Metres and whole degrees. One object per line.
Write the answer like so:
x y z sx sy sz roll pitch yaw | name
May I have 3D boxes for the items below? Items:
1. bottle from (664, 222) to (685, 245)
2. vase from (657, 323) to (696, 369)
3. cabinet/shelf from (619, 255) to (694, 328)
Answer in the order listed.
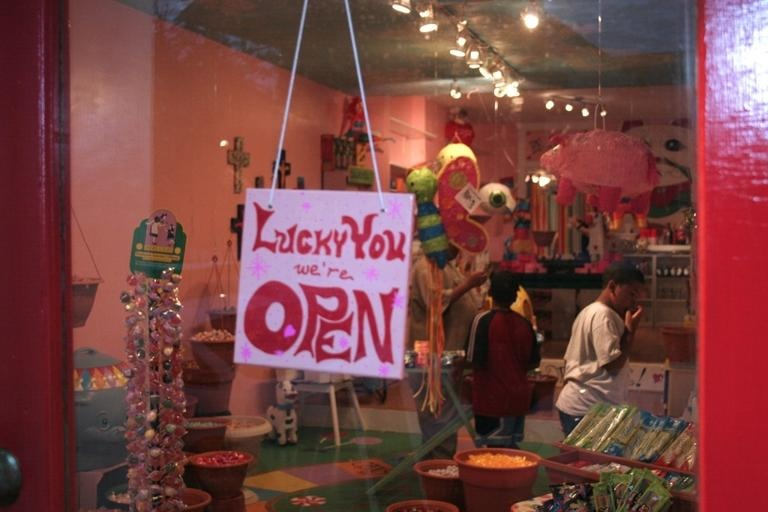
0.769 -0.057 1.914 0.010 0.054 0.074 -2 1 -19 | bottle
0.771 0.242 1.929 0.097 0.069 0.094 -1 1 9 | vase
0.770 0.103 2.023 0.077 0.212 0.225 3 -1 -40 | cabinet/shelf
